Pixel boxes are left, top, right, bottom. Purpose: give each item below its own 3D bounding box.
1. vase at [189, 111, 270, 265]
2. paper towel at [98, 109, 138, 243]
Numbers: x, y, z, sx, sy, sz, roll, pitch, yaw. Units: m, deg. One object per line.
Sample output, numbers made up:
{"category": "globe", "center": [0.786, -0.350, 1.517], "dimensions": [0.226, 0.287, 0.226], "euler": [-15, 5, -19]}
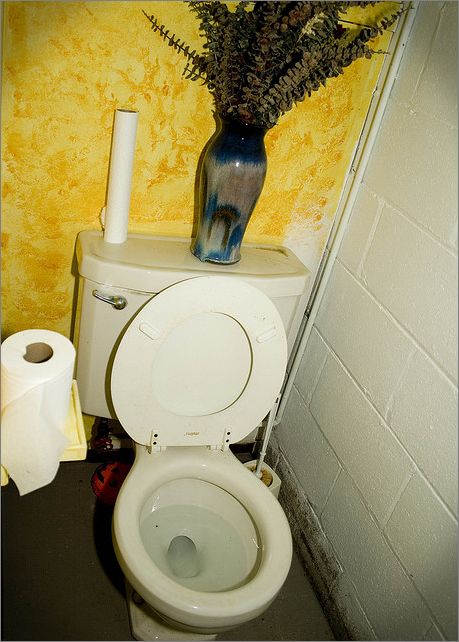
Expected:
{"category": "vase", "center": [-0.003, -0.260, 0.991], "dimensions": [0.133, 0.298, 0.111], "euler": [13, 26, 1]}
{"category": "paper towel", "center": [-0.228, -0.290, 0.980], "dimensions": [0.049, 0.276, 0.098], "euler": [4, 27, -15]}
